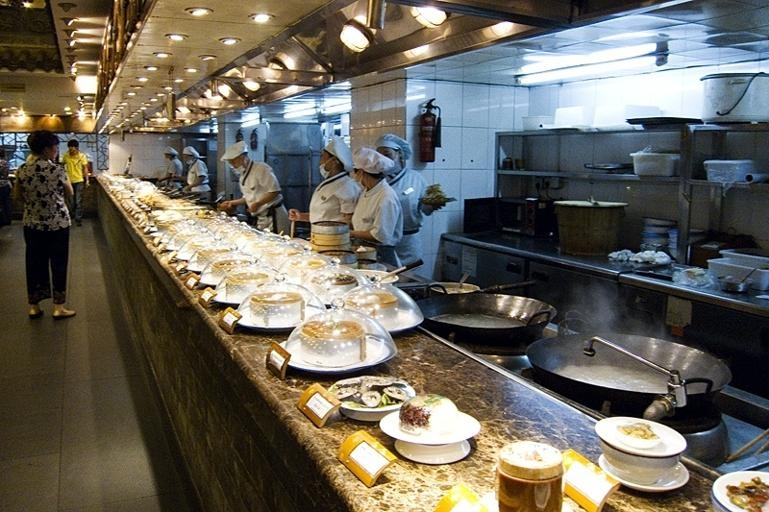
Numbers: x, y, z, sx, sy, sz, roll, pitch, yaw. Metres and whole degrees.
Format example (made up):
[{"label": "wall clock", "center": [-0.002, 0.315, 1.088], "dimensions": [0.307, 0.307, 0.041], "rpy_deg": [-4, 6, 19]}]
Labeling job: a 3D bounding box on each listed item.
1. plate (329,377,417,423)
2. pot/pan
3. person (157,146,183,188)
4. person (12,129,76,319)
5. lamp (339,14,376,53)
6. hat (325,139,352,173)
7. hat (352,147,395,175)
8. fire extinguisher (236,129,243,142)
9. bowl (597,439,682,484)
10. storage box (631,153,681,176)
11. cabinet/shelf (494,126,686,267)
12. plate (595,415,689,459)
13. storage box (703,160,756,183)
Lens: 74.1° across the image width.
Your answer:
[{"label": "plate", "center": [-0.039, 0.474, 1.706], "dimensions": [0.197, 0.037, 0.176], "rpy_deg": [-2, 7, -30]}, {"label": "pot/pan", "center": [0.981, 0.494, 1.990], "dimensions": [0.606, 0.168, 0.555], "rpy_deg": [0, 13, -1]}, {"label": "person", "center": [-5.688, -2.379, 13.505], "dimensions": [0.579, 1.077, 2.329], "rpy_deg": [-6, 12, -21]}, {"label": "person", "center": [-3.802, -0.331, 5.710], "dimensions": [0.541, 2.087, 0.462], "rpy_deg": [-1, 15, -3]}, {"label": "lamp", "center": [-0.131, -1.084, 2.480], "dimensions": [0.151, 0.143, 0.143], "rpy_deg": [0, 13, -1]}, {"label": "hat", "center": [-0.478, -1.024, 5.157], "dimensions": [0.268, 0.328, 0.288], "rpy_deg": [-1, 13, -6]}, {"label": "hat", "center": [-0.140, -0.879, 4.642], "dimensions": [0.355, 0.135, 0.332], "rpy_deg": [-1, 13, -20]}, {"label": "fire extinguisher", "center": [-3.197, -2.668, 11.154], "dimensions": [0.171, 0.248, 0.476], "rpy_deg": [-4, 12, -15]}, {"label": "bowl", "center": [0.680, 0.542, 1.382], "dimensions": [0.172, 0.052, 0.144], "rpy_deg": [3, -1, -13]}, {"label": "storage box", "center": [2.366, -0.803, 4.481], "dimensions": [0.346, 0.097, 0.262], "rpy_deg": [6, 9, 34]}, {"label": "cabinet/shelf", "center": [2.107, -0.579, 5.157], "dimensions": [0.680, 1.015, 1.957], "rpy_deg": [-1, 7, -23]}, {"label": "plate", "center": [0.694, 0.470, 1.391], "dimensions": [0.154, 0.028, 0.147], "rpy_deg": [-4, 8, -40]}, {"label": "storage box", "center": [2.646, -0.652, 3.929], "dimensions": [0.316, 0.179, 0.225], "rpy_deg": [10, 16, 42]}]
